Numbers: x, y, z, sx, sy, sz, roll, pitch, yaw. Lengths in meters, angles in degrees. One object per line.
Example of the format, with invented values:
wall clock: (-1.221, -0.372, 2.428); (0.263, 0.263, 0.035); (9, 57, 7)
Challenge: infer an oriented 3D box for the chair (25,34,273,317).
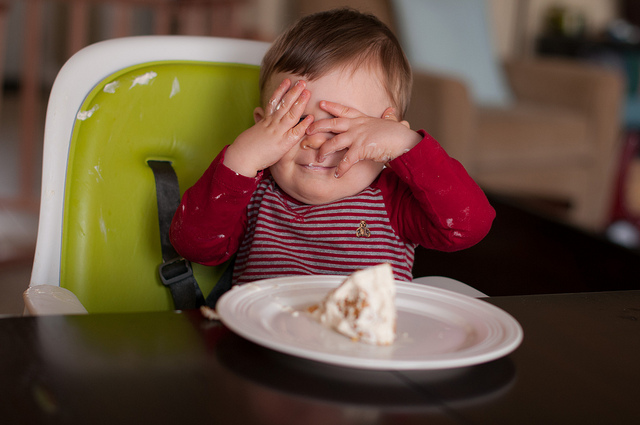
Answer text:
chair: (-0.342, -0.056, 1.458); (0.576, 0.800, 0.672); (4, -8, -15)

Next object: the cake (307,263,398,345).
cake: (0.057, 0.124, 0.794); (0.111, 0.109, 0.113); (-5, 11, -35)

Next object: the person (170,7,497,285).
person: (0.020, -0.154, 1.215); (0.739, 0.620, 0.280); (0, 18, 1)

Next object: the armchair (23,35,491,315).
armchair: (-0.280, -0.078, 1.336); (0.564, 1.075, 0.643); (4, 15, 3)
